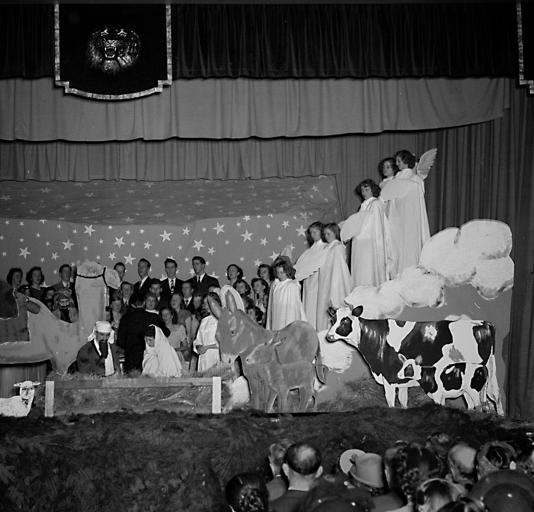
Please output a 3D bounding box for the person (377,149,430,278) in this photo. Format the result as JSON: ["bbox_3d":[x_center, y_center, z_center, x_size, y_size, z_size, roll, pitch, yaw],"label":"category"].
[{"bbox_3d":[1.463,-0.440,8.414,0.520,1.336,0.314,1,2,10],"label":"person"}]

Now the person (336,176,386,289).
[{"bbox_3d":[1.028,-0.232,8.356,0.512,1.136,0.424,1,2,6],"label":"person"}]

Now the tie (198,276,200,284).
[{"bbox_3d":[-0.757,0.262,8.923,0.029,0.069,0.028,0,2,-7],"label":"tie"}]

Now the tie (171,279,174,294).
[{"bbox_3d":[-1.047,0.326,8.850,0.041,0.129,0.077,0,2,-8],"label":"tie"}]
